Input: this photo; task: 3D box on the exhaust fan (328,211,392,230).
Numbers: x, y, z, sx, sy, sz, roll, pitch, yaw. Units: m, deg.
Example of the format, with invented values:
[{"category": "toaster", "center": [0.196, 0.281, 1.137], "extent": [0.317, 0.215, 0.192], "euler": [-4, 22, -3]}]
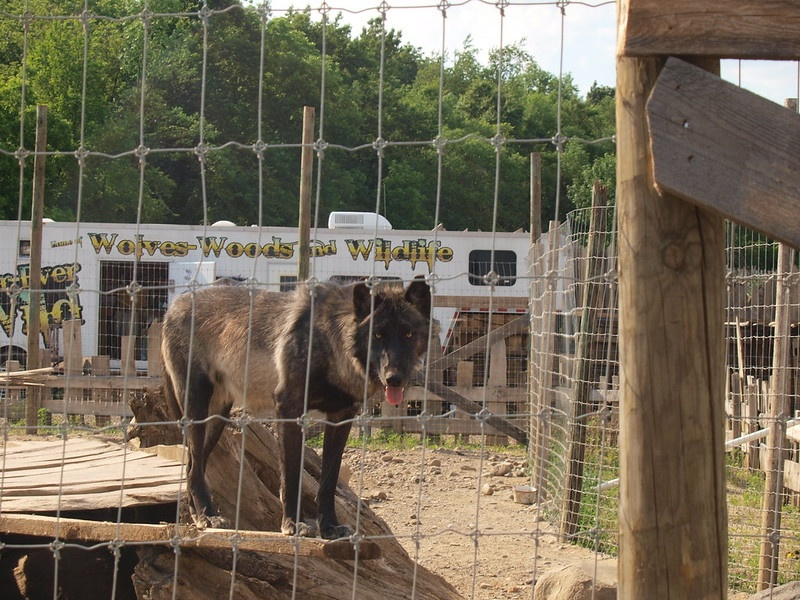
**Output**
[{"category": "exhaust fan", "center": [-0.966, -1.855, 39.610], "extent": [1.167, 0.368, 1.030], "euler": [0, -1, -3]}]
